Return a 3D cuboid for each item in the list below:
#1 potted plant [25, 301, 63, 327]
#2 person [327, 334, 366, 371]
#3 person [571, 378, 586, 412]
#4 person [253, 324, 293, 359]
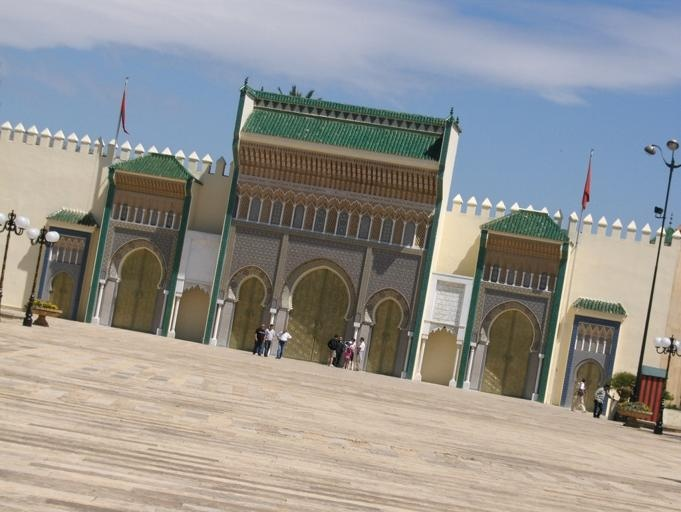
[{"bbox_3d":[-9.515,1.854,52.509,0.864,0.554,0.848,3,-8,-18],"label":"potted plant"},{"bbox_3d":[0.289,3.413,56.998,0.866,1.311,0.422,10,-6,9],"label":"person"},{"bbox_3d":[8.321,4.839,56.986,0.429,1.018,1.058,8,6,9],"label":"person"},{"bbox_3d":[-2.314,3.065,57.189,1.424,1.089,1.400,6,6,-14],"label":"person"}]
